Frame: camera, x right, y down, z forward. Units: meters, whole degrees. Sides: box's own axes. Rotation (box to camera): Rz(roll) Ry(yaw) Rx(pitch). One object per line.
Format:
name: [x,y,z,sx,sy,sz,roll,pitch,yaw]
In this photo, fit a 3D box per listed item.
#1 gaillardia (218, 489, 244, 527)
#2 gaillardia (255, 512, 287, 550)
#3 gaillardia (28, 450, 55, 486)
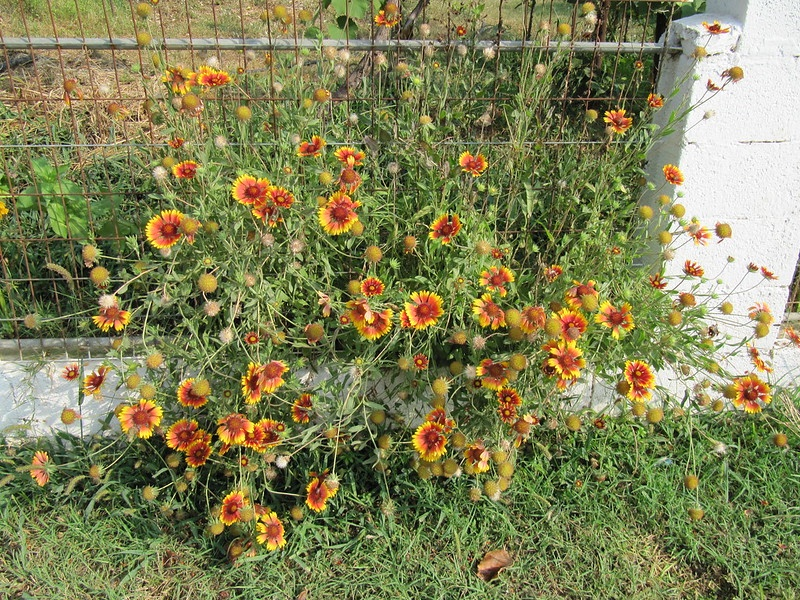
gaillardia: [-0.712,0.889,2.764,0.115,0.156,0.097,7,26,4]
gaillardia: [-0.562,0.995,2.796,0.115,0.125,0.106,-3,27,-15]
gaillardia: [-1.674,0.794,3.024,0.078,0.117,0.085,22,30,-9]
